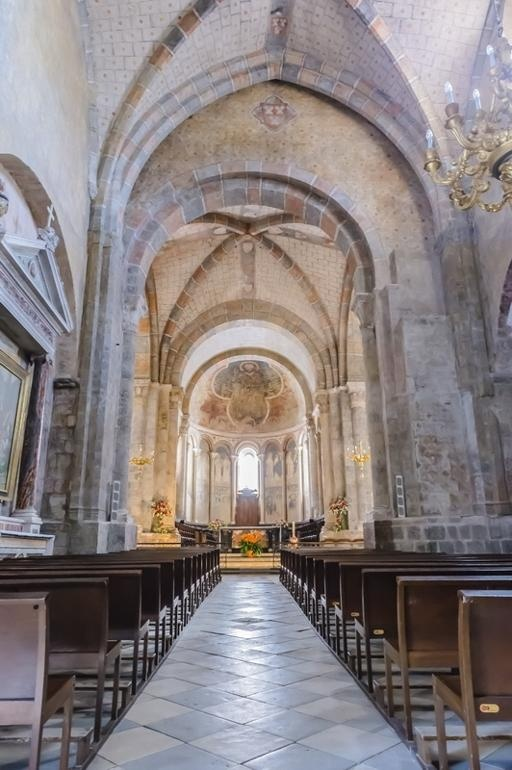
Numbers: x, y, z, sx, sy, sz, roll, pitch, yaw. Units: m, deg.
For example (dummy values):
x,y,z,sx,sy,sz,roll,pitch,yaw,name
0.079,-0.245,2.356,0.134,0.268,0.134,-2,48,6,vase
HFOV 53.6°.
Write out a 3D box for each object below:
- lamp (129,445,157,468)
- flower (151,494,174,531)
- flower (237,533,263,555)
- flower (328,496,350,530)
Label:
x,y,z,sx,sy,sz,roll,pitch,yaw,name
-3.789,2.449,16.700,0.784,0.836,0.821,0,-2,-23,lamp
-3.300,4.357,17.067,0.872,1.219,0.820,3,-3,-24,flower
-0.208,5.857,18.586,0.692,0.813,0.738,2,-17,-13,flower
2.694,4.120,16.234,1.000,1.307,0.385,-1,-9,9,flower
